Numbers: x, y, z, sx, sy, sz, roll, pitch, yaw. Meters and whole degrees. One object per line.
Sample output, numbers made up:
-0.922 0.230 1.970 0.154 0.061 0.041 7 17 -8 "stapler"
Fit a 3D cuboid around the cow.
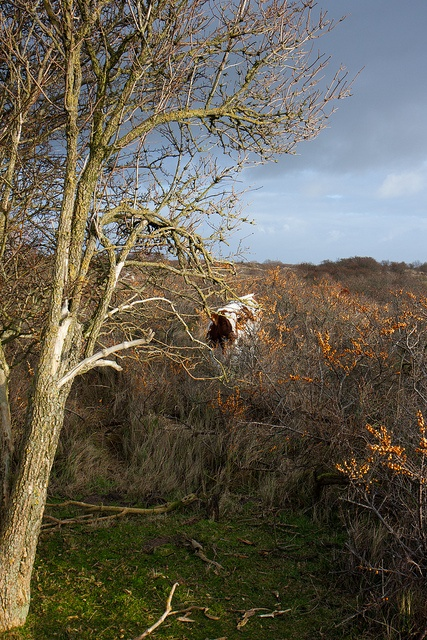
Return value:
0.223 0.092 8.384 0.481 0.944 1.831 8 15 3 "cow"
